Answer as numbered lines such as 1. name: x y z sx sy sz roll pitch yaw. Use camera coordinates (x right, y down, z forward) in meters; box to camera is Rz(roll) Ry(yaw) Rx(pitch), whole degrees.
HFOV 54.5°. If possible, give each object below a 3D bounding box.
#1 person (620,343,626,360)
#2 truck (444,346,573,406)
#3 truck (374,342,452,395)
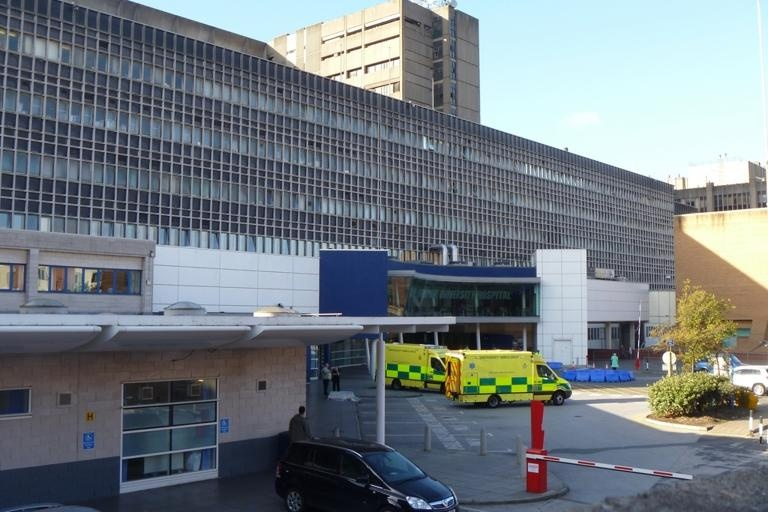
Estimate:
1. person: 27.007 10.860 84.139 0.673 1.275 1.527 -2 -8 17
2. truck: 7.965 7.506 46.146 7.466 3.121 2.625 0 -7 -7
3. truck: 2.625 7.792 52.461 5.853 3.148 2.146 -2 -7 39
